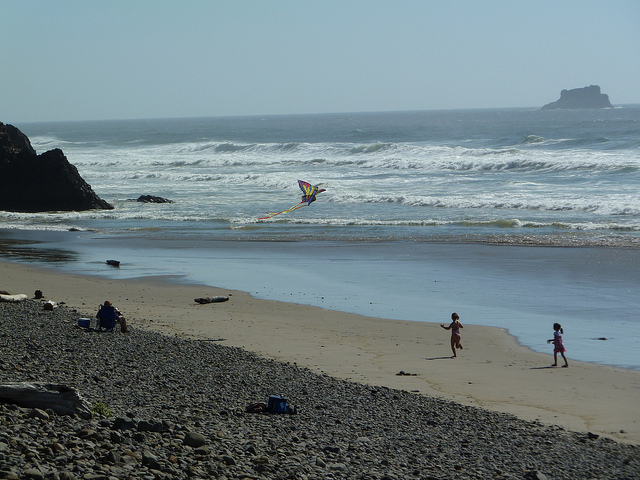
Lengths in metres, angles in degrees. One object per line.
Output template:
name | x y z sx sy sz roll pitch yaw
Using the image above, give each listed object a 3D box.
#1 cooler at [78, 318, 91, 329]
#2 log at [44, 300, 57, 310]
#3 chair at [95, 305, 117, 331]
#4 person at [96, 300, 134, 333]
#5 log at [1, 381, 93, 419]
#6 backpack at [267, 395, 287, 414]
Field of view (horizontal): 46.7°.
cooler | -5.255 1.840 16.564 0.358 0.154 0.227 4 5 33
log | -6.702 1.617 18.340 0.275 0.147 0.348 3 1 -8
chair | -4.765 1.755 16.647 0.480 0.587 0.494 11 10 -13
person | -4.728 1.765 16.748 0.775 0.644 0.523 0 8 13
log | -3.931 2.288 10.680 1.395 0.391 0.352 7 10 -4
backpack | -0.729 2.740 12.416 0.465 0.238 0.267 0 -9 8
